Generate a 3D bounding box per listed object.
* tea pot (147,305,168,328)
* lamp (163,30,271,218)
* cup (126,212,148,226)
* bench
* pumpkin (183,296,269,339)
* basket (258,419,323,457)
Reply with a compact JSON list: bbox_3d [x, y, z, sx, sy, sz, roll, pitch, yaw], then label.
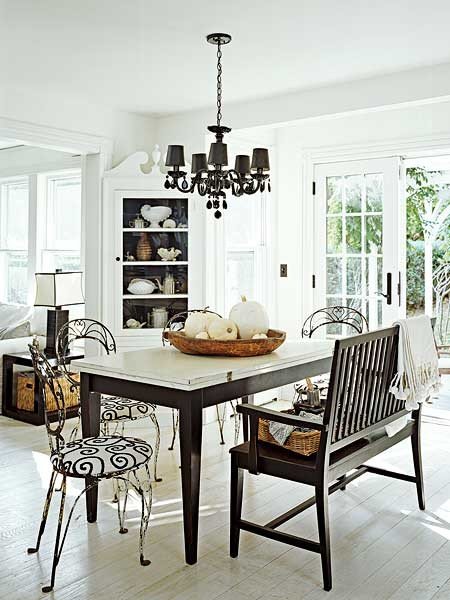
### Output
[{"bbox_3d":[-0.561,0.149,4.155,0.175,0.232,0.189,0,-3,0],"label":"tea pot"},{"bbox_3d":[-0.035,-0.929,2.634,0.500,0.895,0.559,13,17,42],"label":"lamp"},{"bbox_3d":[-0.726,-0.671,4.104,0.139,0.097,0.083,2,4,10],"label":"cup"},{"bbox_3d":[0.455,0.661,2.043,0.395,0.760,0.958,3,2,37],"label":"bench"},{"bbox_3d":[0.009,0.071,2.301,0.301,0.161,0.191,-6,1,-28],"label":"pumpkin"},{"bbox_3d":[0.259,0.513,1.869,0.164,0.055,0.115,-3,-2,45],"label":"basket"}]
